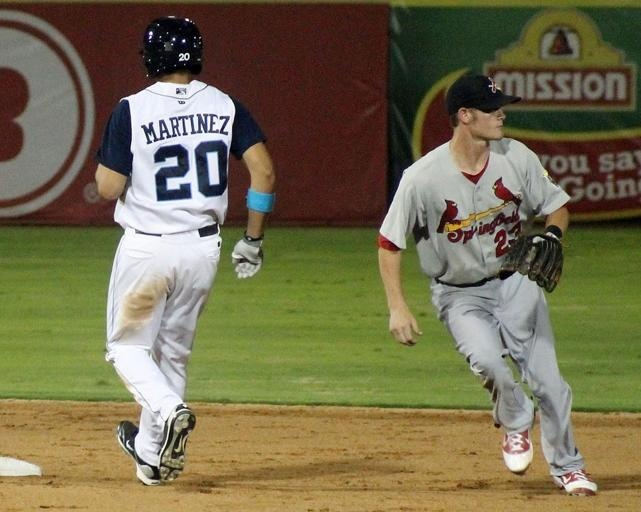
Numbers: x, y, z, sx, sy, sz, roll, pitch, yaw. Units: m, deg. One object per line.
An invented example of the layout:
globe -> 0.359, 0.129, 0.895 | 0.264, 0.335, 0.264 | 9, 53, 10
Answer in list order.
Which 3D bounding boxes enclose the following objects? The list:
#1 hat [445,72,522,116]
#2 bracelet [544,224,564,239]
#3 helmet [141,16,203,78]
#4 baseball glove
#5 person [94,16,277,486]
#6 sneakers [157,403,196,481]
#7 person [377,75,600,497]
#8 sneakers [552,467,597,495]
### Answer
hat -> 1.194, -1.168, 10.434 | 0.608, 0.266, 0.394 | -6, 4, 37
bracelet -> 1.673, -0.173, 10.407 | 0.107, 0.100, 0.101 | 27, 2, -34
helmet -> -1.049, -1.526, 10.468 | 0.392, 0.363, 0.447 | -3, 12, -18
baseball glove -> 1.579, 0.006, 10.310 | 0.499, 0.355, 0.214 | 24, -1, 33
person -> -1.055, 0.000, 10.385 | 0.923, 3.295, 1.216 | 9, 17, 30
sneakers -> -1.023, 1.282, 10.133 | 0.210, 0.548, 0.266 | 10, 10, -22
person -> 1.173, 0.202, 10.371 | 1.469, 2.873, 0.886 | 1, 15, 3
sneakers -> 1.829, 1.610, 10.313 | 0.146, 0.140, 0.330 | 1, -1, -29
